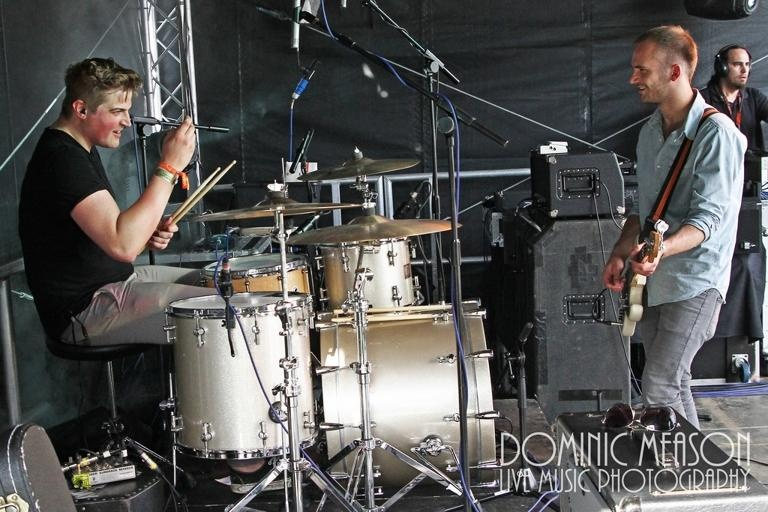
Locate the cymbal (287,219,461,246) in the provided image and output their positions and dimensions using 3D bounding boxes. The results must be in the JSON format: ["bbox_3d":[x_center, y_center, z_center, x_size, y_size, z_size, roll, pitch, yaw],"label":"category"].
[{"bbox_3d":[-0.070,-0.141,4.981,0.421,0.085,0.406,-7,7,-17],"label":"cymbal"}]

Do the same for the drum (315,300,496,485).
[{"bbox_3d":[0.158,0.746,5.351,1.023,1.131,1.085,-4,36,2],"label":"drum"}]

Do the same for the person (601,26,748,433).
[{"bbox_3d":[1.523,-0.173,4.635,0.752,1.944,0.588,-5,-2,21],"label":"person"}]

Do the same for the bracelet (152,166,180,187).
[{"bbox_3d":[-1.189,-0.448,4.844,0.115,0.086,0.113,29,-3,-31],"label":"bracelet"}]

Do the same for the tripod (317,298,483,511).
[{"bbox_3d":[0.108,0.822,5.251,0.931,1.178,1.211,-4,-1,-6],"label":"tripod"}]

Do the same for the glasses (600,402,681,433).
[{"bbox_3d":[1.164,0.743,4.035,0.173,0.057,0.174,1,-37,9],"label":"glasses"}]

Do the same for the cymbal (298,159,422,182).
[{"bbox_3d":[-0.168,-0.548,5.577,0.346,0.078,0.334,-10,15,-13],"label":"cymbal"}]

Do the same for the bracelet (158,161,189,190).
[{"bbox_3d":[-1.184,-0.458,4.896,0.155,0.098,0.178,40,-14,-22],"label":"bracelet"}]

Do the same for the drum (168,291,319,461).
[{"bbox_3d":[-0.763,0.645,4.967,0.858,0.783,0.841,-2,1,-20],"label":"drum"}]
